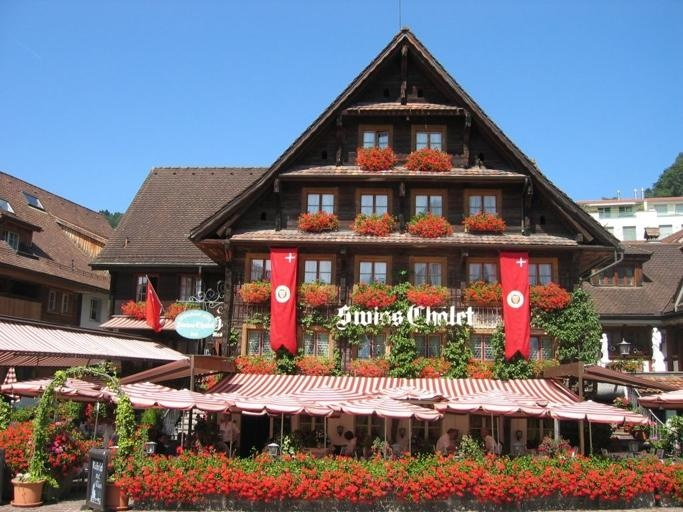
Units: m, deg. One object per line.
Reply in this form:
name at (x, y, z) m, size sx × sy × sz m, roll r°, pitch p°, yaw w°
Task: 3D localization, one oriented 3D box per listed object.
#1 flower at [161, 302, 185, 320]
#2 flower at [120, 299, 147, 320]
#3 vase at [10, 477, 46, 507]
flower at (-7.894, 2.559, 40.372) m, size 0.504 × 0.785 × 1.813 m, roll 13°, pitch -20°, yaw -33°
flower at (-10.257, 2.645, 42.418) m, size 1.098 × 0.680 × 1.040 m, roll 1°, pitch -3°, yaw 9°
vase at (-10.031, 7.568, 27.282) m, size 0.959 × 0.631 × 0.901 m, roll 2°, pitch -13°, yaw -8°
